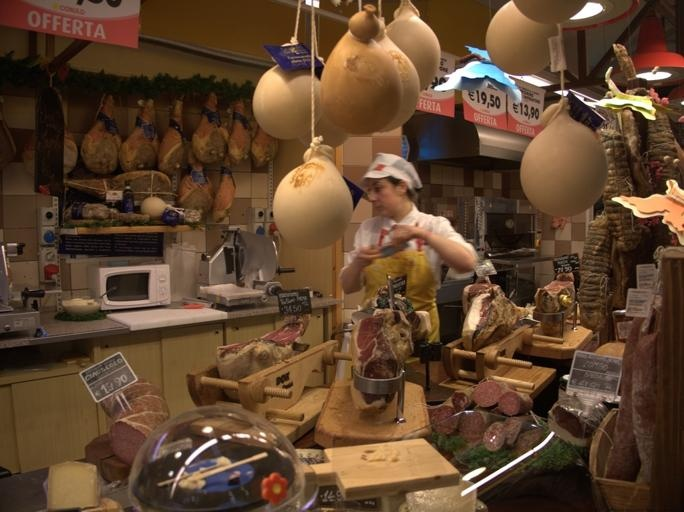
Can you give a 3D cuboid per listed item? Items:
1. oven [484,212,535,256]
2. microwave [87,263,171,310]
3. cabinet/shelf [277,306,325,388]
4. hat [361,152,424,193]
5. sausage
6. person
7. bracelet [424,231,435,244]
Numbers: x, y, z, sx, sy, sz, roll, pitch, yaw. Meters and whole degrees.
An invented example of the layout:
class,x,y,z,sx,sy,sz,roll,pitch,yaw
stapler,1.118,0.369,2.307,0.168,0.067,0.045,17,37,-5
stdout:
class,x,y,z,sx,sy,sz,roll,pitch,yaw
oven,1.913,-0.309,5.794,0.620,0.437,0.320,1,1,40
microwave,-1.459,0.209,3.664,0.428,0.309,0.314,-2,0,-39
cabinet/shelf,-0.299,0.730,3.751,0.345,0.592,0.961,1,2,-3
hat,0.255,-0.401,2.502,0.307,0.140,0.223,12,1,1
sausage,0.367,0.410,1.339,0.159,0.091,0.206,-6,7,26
person,0.320,-0.045,2.416,0.656,0.954,1.100,1,2,4
bracelet,0.377,-0.080,2.279,0.043,0.043,0.044,1,4,30
